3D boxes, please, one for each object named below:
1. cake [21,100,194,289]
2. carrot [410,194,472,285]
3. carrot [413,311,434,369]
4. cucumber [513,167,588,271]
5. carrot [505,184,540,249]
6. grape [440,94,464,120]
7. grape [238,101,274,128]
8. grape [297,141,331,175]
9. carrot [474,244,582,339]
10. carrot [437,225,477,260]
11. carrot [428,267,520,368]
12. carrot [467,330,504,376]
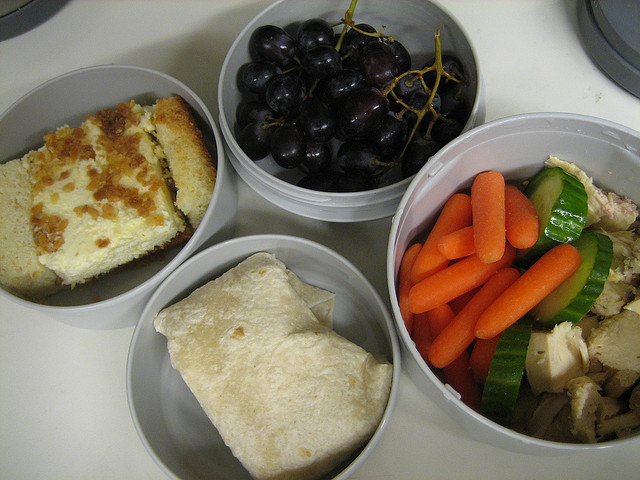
[{"bbox_3d":[-0.616,-0.089,1.816,0.489,0.166,0.525,-27,82,-7],"label":"cake"},{"bbox_3d":[0.323,0.024,1.660,0.128,0.244,0.160,-11,36,-15],"label":"carrot"},{"bbox_3d":[0.275,0.262,1.622,0.043,0.047,0.158,-4,70,-2],"label":"carrot"},{"bbox_3d":[0.622,-0.077,1.558,0.064,0.230,0.262,8,92,-30],"label":"cucumber"},{"bbox_3d":[0.535,-0.058,1.628,0.069,0.074,0.158,-13,64,1],"label":"carrot"},{"bbox_3d":[0.374,-0.369,1.679,0.049,0.034,0.074,4,90,0],"label":"grape"},{"bbox_3d":[-0.183,-0.355,1.741,0.080,0.065,0.070,6,87,16],"label":"grape"},{"bbox_3d":[-0.009,-0.230,1.733,0.073,0.053,0.100,1,93,-3],"label":"grape"},{"bbox_3d":[0.532,0.133,1.525,0.340,0.068,0.083,-37,82,-9],"label":"carrot"},{"bbox_3d":[0.362,0.003,1.608,0.113,0.042,0.057,-29,101,-5],"label":"carrot"},{"bbox_3d":[0.463,0.186,1.706,0.535,0.123,0.148,-29,119,-41],"label":"carrot"},{"bbox_3d":[0.426,0.296,1.554,0.094,0.060,0.099,-31,125,-40],"label":"carrot"}]
